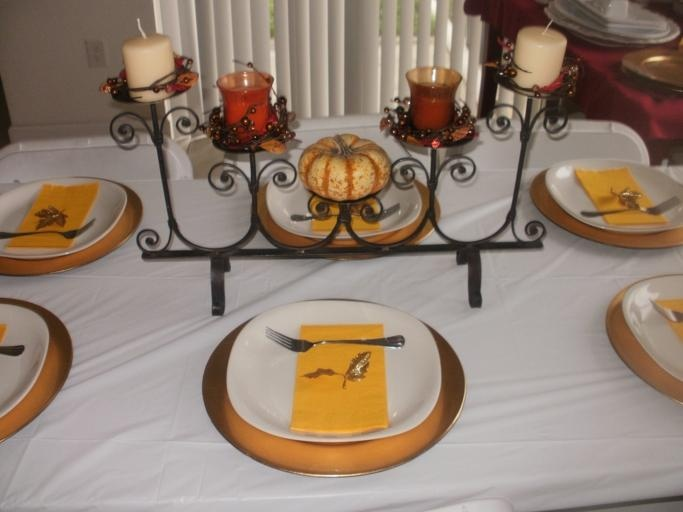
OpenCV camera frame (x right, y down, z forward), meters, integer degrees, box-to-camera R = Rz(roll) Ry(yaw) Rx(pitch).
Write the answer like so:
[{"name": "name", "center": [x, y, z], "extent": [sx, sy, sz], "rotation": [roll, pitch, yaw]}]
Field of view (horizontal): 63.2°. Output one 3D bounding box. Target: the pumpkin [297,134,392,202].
[{"name": "pumpkin", "center": [0.006, -0.151, 1.020], "extent": [0.128, 0.100, 0.142], "rotation": [0, 32, -5]}]

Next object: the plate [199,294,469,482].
[{"name": "plate", "center": [-0.014, 0.194, 0.895], "extent": [0.422, 0.037, 0.319], "rotation": [2, 42, 4]}]

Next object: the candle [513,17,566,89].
[{"name": "candle", "center": [0.332, -0.337, 0.933], "extent": [0.081, 0.078, 0.108], "rotation": [15, 43, 19]}]

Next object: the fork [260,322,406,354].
[{"name": "fork", "center": [-0.014, 0.143, 0.950], "extent": [0.183, 0.032, 0.030], "rotation": [-2, 41, -1]}]

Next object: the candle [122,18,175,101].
[{"name": "candle", "center": [-0.312, -0.316, 0.899], "extent": [0.085, 0.113, 0.095], "rotation": [-17, 42, -18]}]
